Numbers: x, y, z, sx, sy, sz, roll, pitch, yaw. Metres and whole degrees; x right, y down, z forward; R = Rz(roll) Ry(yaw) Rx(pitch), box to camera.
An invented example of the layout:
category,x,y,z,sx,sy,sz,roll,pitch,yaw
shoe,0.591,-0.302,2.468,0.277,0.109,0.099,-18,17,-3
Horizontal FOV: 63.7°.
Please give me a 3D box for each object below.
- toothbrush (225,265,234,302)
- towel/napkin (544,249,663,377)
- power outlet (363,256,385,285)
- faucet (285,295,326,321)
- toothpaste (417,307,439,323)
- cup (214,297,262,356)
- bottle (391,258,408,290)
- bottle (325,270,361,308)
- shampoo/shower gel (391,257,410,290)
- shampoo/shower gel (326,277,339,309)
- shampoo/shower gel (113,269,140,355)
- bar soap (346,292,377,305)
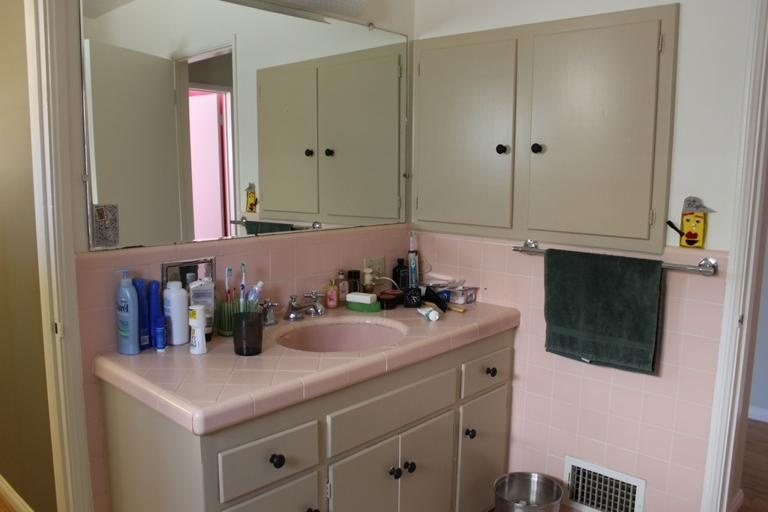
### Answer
category,x,y,z,sx,sy,sz,roll,pitch,yaw
toothbrush,-0.713,0.122,2.830,0.042,0.155,0.065,-5,8,-17
towel/napkin,1.056,0.245,2.918,0.531,0.564,0.078,7,13,36
power outlet,-0.053,0.077,3.324,0.068,0.140,0.184,5,11,42
faucet,-0.388,0.250,3.033,0.089,0.090,0.203,2,4,37
toothpaste,0.232,0.279,3.066,0.115,0.049,0.146,-6,9,-24
cup,-0.639,0.301,2.667,0.258,0.236,0.168,4,4,41
bottle,0.090,0.092,3.434,0.113,0.163,0.084,-6,9,-23
bottle,-0.222,0.170,3.177,0.158,0.238,0.073,-7,13,-42
shampoo/shower gel,0.084,0.099,3.408,0.082,0.247,0.144,-3,8,-17
shampoo/shower gel,-0.268,0.189,3.164,0.071,0.146,0.035,-4,8,-15
shampoo/shower gel,-1.068,0.248,2.560,0.088,0.311,0.064,-6,9,-25
bar soap,-0.122,0.209,3.145,0.159,0.054,0.079,3,10,34
